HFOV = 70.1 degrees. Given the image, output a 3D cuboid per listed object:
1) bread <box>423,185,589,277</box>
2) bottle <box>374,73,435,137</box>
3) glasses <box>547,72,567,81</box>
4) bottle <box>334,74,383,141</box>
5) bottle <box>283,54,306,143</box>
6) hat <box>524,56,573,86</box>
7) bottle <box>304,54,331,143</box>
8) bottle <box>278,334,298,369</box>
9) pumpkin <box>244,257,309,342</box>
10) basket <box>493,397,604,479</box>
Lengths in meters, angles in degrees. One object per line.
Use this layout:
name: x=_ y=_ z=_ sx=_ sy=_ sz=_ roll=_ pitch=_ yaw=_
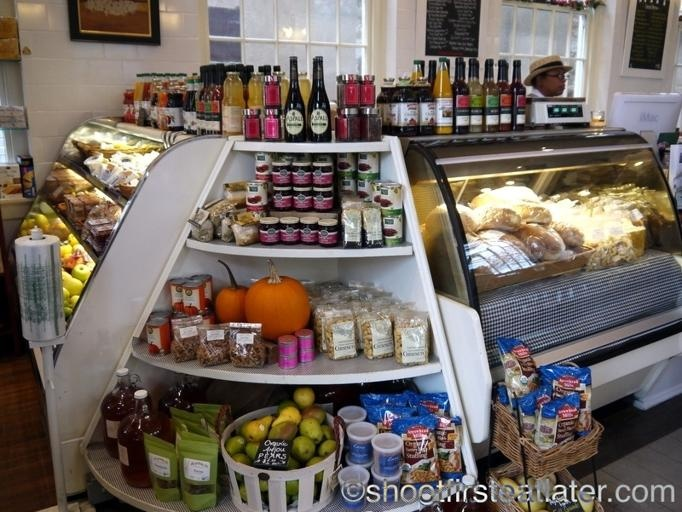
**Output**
bread: x=0.854 y=-0.079 z=2.428 sx=0.582 sy=0.493 sz=0.187 roll=0 pitch=-24 yaw=-18
bottle: x=0.310 y=-0.724 z=2.447 sx=0.273 sy=0.329 sz=0.346 roll=-11 pitch=20 yaw=-20
glasses: x=1.967 y=-1.656 z=4.476 sx=0.117 sy=0.036 sz=0.119 roll=-5 pitch=17 yaw=-21
bottle: x=0.081 y=-0.674 z=2.215 sx=0.207 sy=0.283 sz=0.170 roll=0 pitch=20 yaw=4
bottle: x=-0.215 y=-0.722 z=2.238 sx=0.108 sy=0.358 sz=0.215 roll=-4 pitch=20 yaw=-6
hat: x=1.876 y=-1.659 z=4.427 sx=0.290 sy=0.122 sz=0.327 roll=-22 pitch=7 yaw=-42
bottle: x=-0.104 y=-0.715 z=2.217 sx=0.110 sy=0.362 sz=0.261 roll=-2 pitch=20 yaw=-2
bottle: x=-0.231 y=0.429 z=2.222 sx=0.120 sy=0.132 sz=0.119 roll=-2 pitch=8 yaw=-15
pumpkin: x=-0.326 y=0.174 z=2.416 sx=0.338 sy=0.441 sz=0.348 roll=-9 pitch=7 yaw=-9
basket: x=0.810 y=0.773 z=1.943 sx=0.307 sy=0.152 sz=0.399 roll=-5 pitch=19 yaw=-17
